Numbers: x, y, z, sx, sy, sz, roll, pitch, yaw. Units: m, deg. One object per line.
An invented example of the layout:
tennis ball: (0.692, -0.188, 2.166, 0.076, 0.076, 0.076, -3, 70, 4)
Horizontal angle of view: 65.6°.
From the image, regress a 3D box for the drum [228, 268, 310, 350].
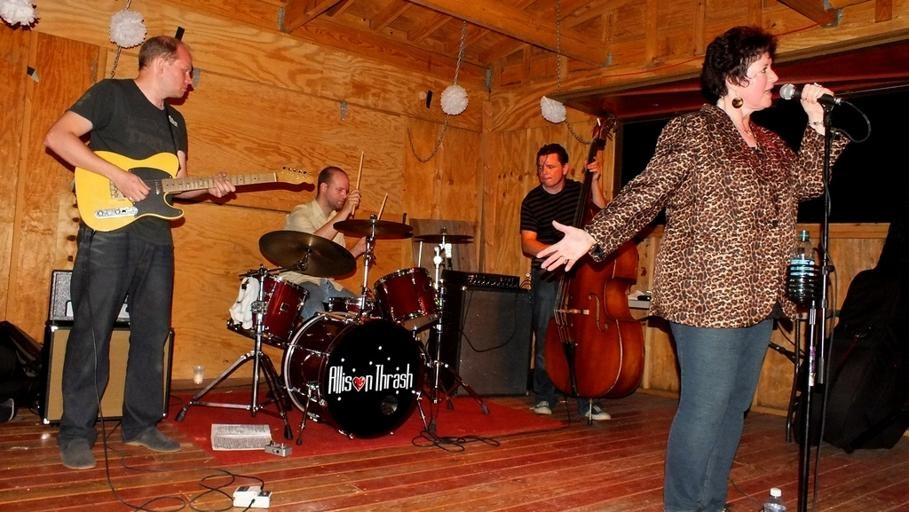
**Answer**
drum: (-1.497, 0.435, 5.975, 0.604, 0.474, 0.662, 19, -9, 3)

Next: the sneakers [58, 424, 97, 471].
sneakers: (-2.673, 1.372, 4.987, 0.170, 0.157, 0.431, 3, 4, -36)

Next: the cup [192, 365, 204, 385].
cup: (-2.489, 1.154, 6.862, 0.179, 0.191, 0.155, 3, -12, -15)

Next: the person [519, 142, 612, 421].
person: (1.081, 0.196, 6.647, 0.832, 2.315, 1.015, 0, -2, -44)

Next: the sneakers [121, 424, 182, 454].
sneakers: (-2.257, 1.386, 5.325, 0.445, 0.153, 0.168, 4, -4, 14)

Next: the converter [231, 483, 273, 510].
converter: (-1.348, 1.598, 4.688, 0.250, 0.096, 0.248, 0, 10, -16)

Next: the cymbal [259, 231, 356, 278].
cymbal: (-1.186, -0.015, 5.722, 0.542, 0.102, 0.494, 10, -35, 7)

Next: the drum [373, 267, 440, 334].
drum: (-0.473, 0.426, 6.128, 0.613, 0.405, 0.606, -3, -25, -1)

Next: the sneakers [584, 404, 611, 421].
sneakers: (1.287, 1.418, 6.344, 0.245, 0.094, 0.131, -4, -9, 39)
